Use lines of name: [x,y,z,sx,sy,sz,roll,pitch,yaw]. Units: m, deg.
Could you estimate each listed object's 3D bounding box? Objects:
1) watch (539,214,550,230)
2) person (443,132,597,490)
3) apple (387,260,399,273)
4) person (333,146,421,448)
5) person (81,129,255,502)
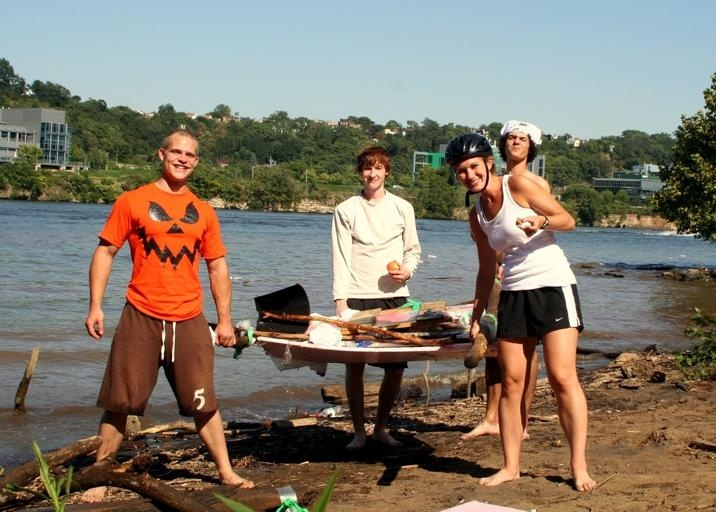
watch: [1.540,-0.282,6.841,0.086,0.098,0.114,12,-21,5]
person: [1.400,0.442,7.105,1.223,3.018,0.617,4,7,40]
apple: [0.330,0.101,8.334,0.109,0.105,0.103,38,25,-30]
person: [0.159,0.428,8.521,0.751,3.100,0.749,4,7,42]
person: [-1.713,0.492,7.212,1.332,3.195,0.791,-1,5,-8]
